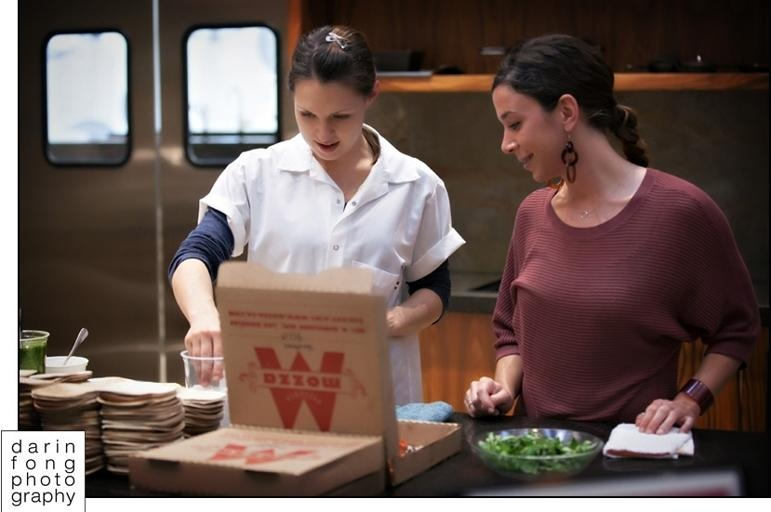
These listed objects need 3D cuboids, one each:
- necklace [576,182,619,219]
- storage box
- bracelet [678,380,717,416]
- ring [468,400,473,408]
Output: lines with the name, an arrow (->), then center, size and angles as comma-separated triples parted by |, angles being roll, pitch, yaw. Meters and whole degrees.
necklace -> 0.642, -0.172, 2.276 | 0.095, 0.091, 0.054 | -4, 8, 18
storage box -> -0.176, 0.276, 1.811 | 0.471, 0.470, 0.659 | 2, 6, 26
bracelet -> 0.905, 0.402, 2.208 | 0.089, 0.073, 0.106 | 44, -2, 30
ring -> 0.252, 0.432, 2.220 | 0.014, 0.014, 0.014 | 17, -15, 4
